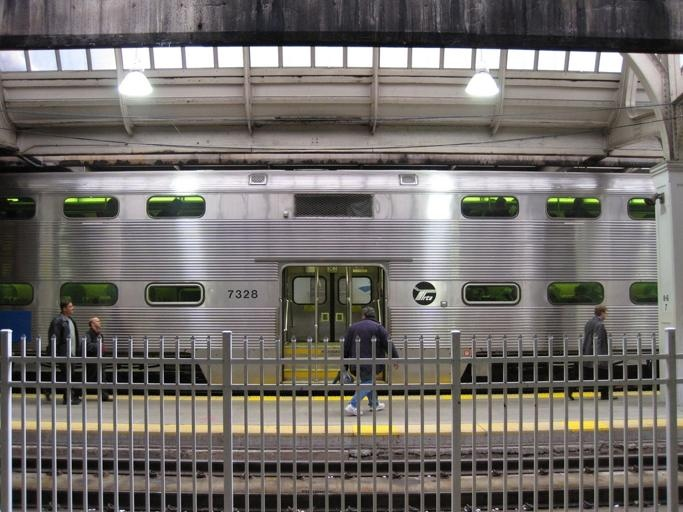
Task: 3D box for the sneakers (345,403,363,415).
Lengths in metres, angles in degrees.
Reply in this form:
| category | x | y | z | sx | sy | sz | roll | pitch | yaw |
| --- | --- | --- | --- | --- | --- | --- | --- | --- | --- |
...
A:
| category | x | y | z | sx | sy | sz | roll | pitch | yaw |
| --- | --- | --- | --- | --- | --- | --- | --- | --- | --- |
| sneakers | 0.209 | 2.550 | 25.705 | 0.176 | 0.215 | 0.511 | 2 | -14 | -5 |
